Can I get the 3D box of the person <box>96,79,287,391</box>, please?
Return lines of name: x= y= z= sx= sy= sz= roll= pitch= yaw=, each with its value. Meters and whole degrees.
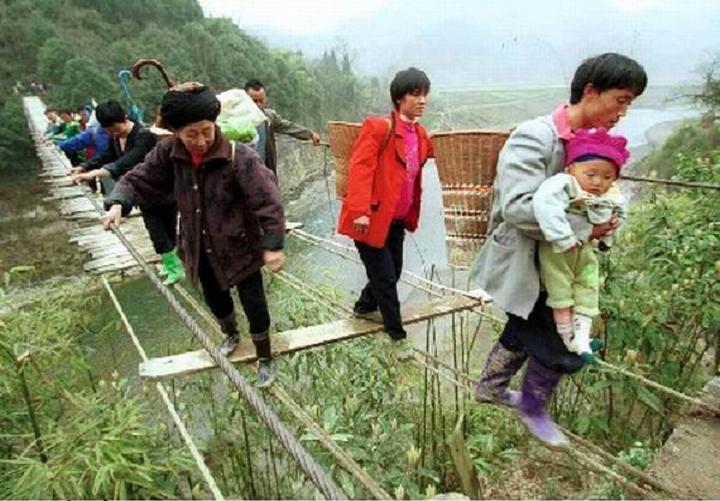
person: x=-1.142 y=-0.078 z=4.135 sx=1.277 sy=2.345 sz=0.425 roll=3 pitch=21 yaw=15

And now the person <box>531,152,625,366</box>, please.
person: x=1.475 y=0.047 z=3.624 sx=0.521 sy=1.340 sz=0.550 roll=9 pitch=23 yaw=29

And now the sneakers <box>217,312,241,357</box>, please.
sneakers: x=-1.121 y=0.731 z=4.452 sx=0.151 sy=0.286 sz=0.309 roll=-5 pitch=13 yaw=17

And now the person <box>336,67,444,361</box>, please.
person: x=0.199 y=-0.372 z=4.560 sx=0.645 sy=2.244 sz=0.742 roll=6 pitch=22 yaw=25

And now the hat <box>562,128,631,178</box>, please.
hat: x=1.596 y=-0.716 z=3.591 sx=0.398 sy=0.226 sz=0.391 roll=12 pitch=14 yaw=34

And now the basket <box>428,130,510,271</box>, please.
basket: x=1.032 y=-0.407 z=4.758 sx=0.825 sy=1.103 sz=0.873 roll=6 pitch=2 yaw=28
